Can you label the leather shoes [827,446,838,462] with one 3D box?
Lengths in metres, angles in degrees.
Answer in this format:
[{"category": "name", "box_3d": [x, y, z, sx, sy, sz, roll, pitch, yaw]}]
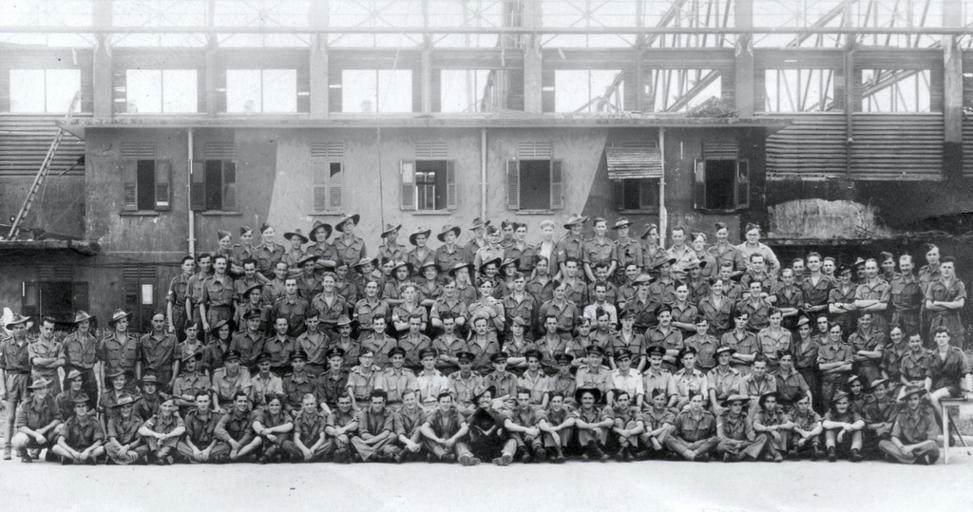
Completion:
[{"category": "leather shoes", "box_3d": [9.690, 5.594, 49.289, 0.300, 0.428, 0.173, 0, -2, 2]}]
